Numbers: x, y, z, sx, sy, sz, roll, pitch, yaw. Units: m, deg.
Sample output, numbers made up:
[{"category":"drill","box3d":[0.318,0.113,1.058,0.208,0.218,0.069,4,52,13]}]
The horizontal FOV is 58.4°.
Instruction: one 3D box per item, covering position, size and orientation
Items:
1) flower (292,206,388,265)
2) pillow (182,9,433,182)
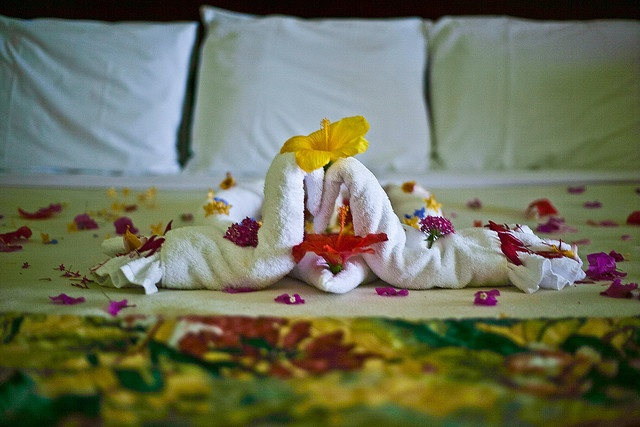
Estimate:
[{"category":"flower","box3d":[0.051,0.070,1.626,0.186,0.126,0.184,0,3,-28]},{"category":"pillow","box3d":[-0.075,-0.575,2.856,1.054,0.676,0.205,1,0,-2]}]
